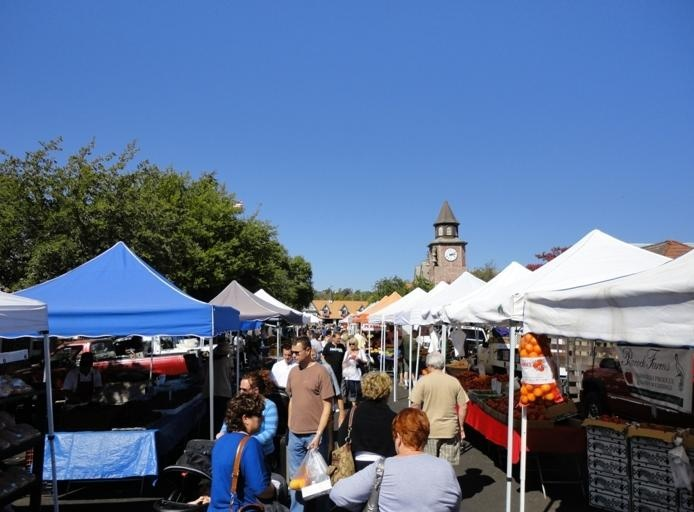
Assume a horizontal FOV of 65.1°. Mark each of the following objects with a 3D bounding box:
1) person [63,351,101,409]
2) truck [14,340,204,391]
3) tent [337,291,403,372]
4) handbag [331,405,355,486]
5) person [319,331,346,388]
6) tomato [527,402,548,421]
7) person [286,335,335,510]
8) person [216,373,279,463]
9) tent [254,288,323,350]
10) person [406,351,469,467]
[{"bbox_3d":[-4.698,2.297,9.735,0.655,1.115,0.675,-3,-7,45],"label":"person"},{"bbox_3d":[-6.600,2.934,14.703,5.010,1.809,2.486,2,-10,-8],"label":"truck"},{"bbox_3d":[0.816,3.860,25.620,3.090,3.355,3.525,-3,-1,8],"label":"tent"},{"bbox_3d":[-0.018,2.115,5.900,0.186,0.824,0.338,5,-14,10],"label":"handbag"},{"bbox_3d":[-0.285,2.742,13.350,0.696,1.624,0.492,1,6,-1],"label":"person"},{"bbox_3d":[2.867,2.355,8.184,0.261,0.099,0.266,0,30,33],"label":"tomato"},{"bbox_3d":[-0.475,2.146,6.946,0.608,2.201,0.917,-1,-8,-7],"label":"person"},{"bbox_3d":[-1.284,2.183,7.108,0.751,1.181,0.772,-1,-19,-4],"label":"person"},{"bbox_3d":[-2.551,2.162,21.970,3.318,1.564,3.359,3,-5,-5],"label":"tent"},{"bbox_3d":[1.308,2.431,7.929,0.833,2.000,0.477,2,7,12],"label":"person"}]
